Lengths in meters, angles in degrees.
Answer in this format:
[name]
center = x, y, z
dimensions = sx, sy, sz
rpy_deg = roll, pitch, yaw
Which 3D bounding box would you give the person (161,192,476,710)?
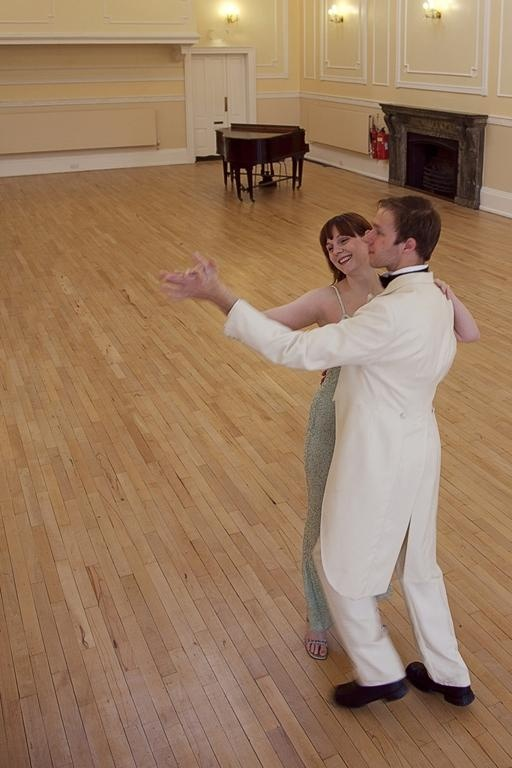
[person]
center = 0.188, 0.186, 1.371
dimensions = 0.777, 1.241, 0.517
rpy_deg = -7, 11, -25

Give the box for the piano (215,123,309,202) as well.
[piano]
center = 0.146, -4.390, 10.439
dimensions = 1.668, 1.175, 2.018
rpy_deg = 0, 31, 2
